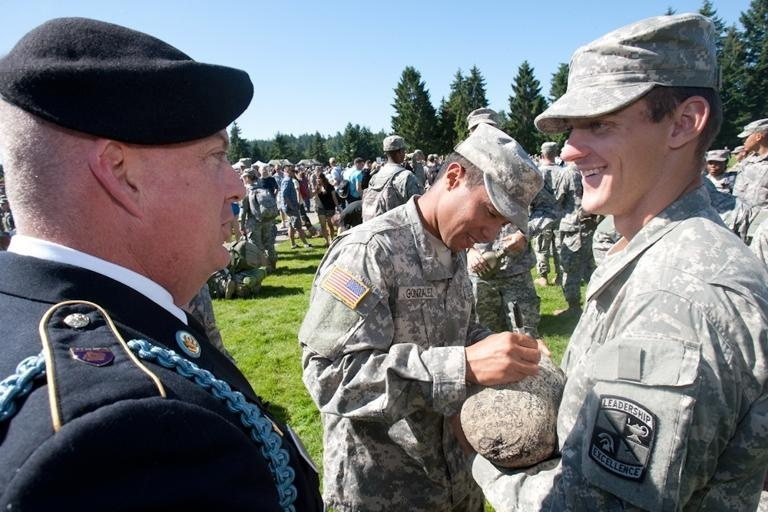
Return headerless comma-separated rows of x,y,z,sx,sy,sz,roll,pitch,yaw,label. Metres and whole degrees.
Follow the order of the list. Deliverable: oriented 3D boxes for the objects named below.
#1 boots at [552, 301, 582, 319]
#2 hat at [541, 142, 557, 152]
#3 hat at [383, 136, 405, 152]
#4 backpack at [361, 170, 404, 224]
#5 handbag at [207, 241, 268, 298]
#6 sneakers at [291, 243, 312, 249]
2.262,0.645,8.707,0.368,0.269,0.172,5,13,23,boots
2.292,-1.530,9.921,0.183,0.184,0.237,6,17,22,hat
0.152,-1.542,9.649,0.290,0.169,0.288,-11,24,-22,hat
-0.203,-0.736,8.795,0.694,0.700,0.493,-3,3,-18,backpack
-1.774,0.209,8.576,0.495,0.689,0.250,-12,-23,17,handbag
-1.786,-0.200,15.269,0.456,0.183,0.155,-2,5,5,sneakers
